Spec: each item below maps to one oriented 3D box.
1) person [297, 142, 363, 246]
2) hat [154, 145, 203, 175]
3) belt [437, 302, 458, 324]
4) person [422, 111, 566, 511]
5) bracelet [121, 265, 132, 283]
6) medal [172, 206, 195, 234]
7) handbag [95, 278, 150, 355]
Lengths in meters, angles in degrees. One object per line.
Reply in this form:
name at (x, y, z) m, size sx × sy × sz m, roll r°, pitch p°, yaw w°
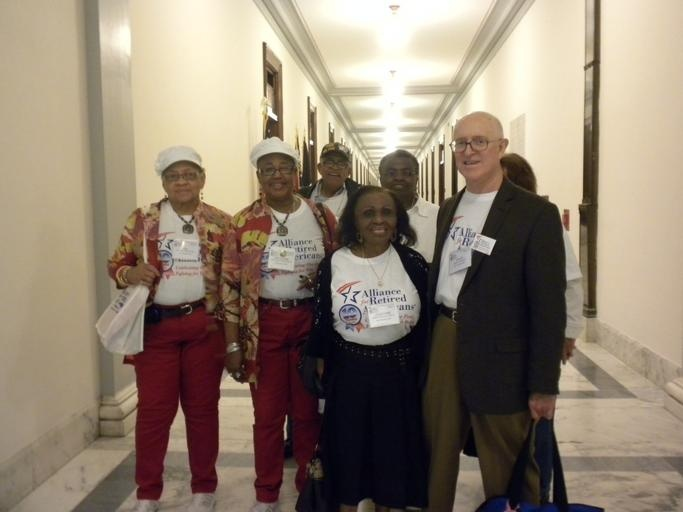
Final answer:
person at (-0.098, -0.438, 4.670) m, size 0.698 × 1.123 × 0.554 m, roll 3°, pitch -11°, yaw -3°
hat at (-0.983, -0.577, 3.157) m, size 0.266 × 0.175 × 0.199 m, roll -4°, pitch 10°, yaw -17°
belt at (0.551, 0.294, 2.738) m, size 0.062 × 0.041 × 0.076 m, roll 29°, pitch -9°, yaw -34°
person at (0.777, 0.294, 2.682) m, size 0.680 × 2.051 × 0.465 m, roll 3°, pitch 10°, yaw 22°
bracelet at (-1.247, 0.104, 3.025) m, size 0.030 × 0.085 × 0.063 m, roll 4°, pitch 1°, yaw 4°
medal at (-0.952, -0.212, 3.135) m, size 0.091 × 0.154 × 0.032 m, roll -8°, pitch -7°, yaw -16°
handbag at (-1.247, 0.357, 2.992) m, size 0.302 × 0.384 × 0.143 m, roll -4°, pitch 9°, yaw -16°
